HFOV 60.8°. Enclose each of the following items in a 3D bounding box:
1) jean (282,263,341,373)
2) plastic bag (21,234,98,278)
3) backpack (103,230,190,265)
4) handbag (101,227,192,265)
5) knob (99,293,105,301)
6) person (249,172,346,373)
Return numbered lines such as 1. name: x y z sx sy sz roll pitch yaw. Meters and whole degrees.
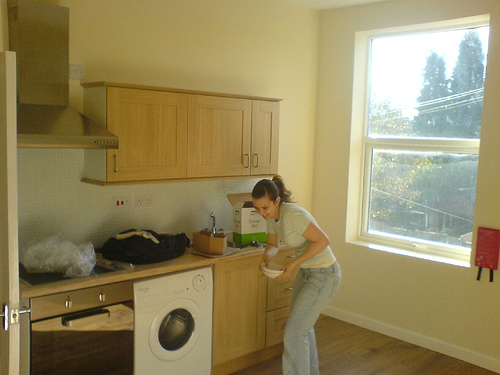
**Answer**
1. jean: 0.506 1.064 3.474 0.414 0.879 0.323 3 10 14
2. plastic bag: -1.361 0.499 3.102 0.418 0.201 0.296 4 8 10
3. backpack: -0.808 0.476 3.387 0.374 0.143 0.329 -2 4 -41
4. handbag: -0.797 0.474 3.409 0.409 0.158 0.350 -1 3 -45
5. knob: -1.034 0.769 2.983 0.030 0.043 0.010 -1 4 -44
6. person: 0.427 0.754 3.886 0.726 1.804 1.195 2 10 7
